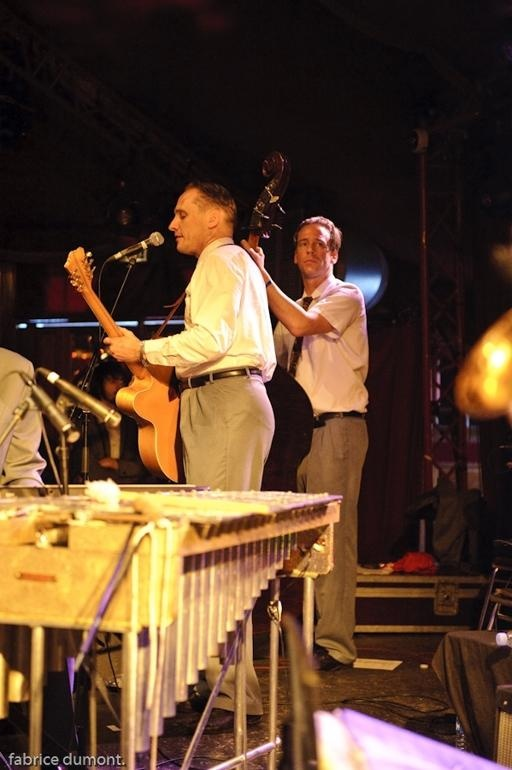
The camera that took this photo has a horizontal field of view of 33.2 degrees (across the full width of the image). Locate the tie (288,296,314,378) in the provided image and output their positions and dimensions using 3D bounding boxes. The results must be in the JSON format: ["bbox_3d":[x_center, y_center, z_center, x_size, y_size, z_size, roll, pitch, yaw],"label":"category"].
[{"bbox_3d":[0.225,-0.223,4.167,0.059,0.432,0.065,7,15,-38],"label":"tie"}]

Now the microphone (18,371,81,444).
[{"bbox_3d":[-0.491,0.055,2.014,0.121,0.154,0.207,7,-7,-30],"label":"microphone"}]
